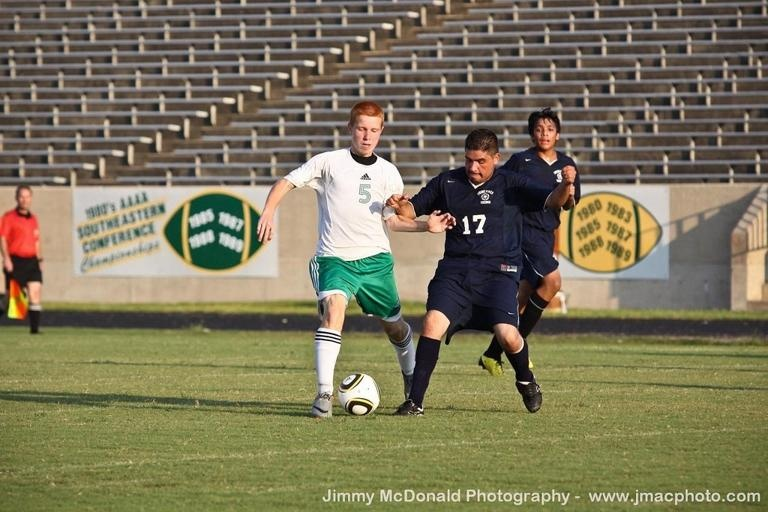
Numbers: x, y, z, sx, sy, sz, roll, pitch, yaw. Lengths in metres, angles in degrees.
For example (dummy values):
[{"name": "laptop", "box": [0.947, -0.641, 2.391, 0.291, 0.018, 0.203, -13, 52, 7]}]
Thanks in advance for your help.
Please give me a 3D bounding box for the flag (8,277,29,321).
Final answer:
[{"name": "flag", "box": [-8.271, 0.954, 45.135, 0.592, 0.894, 0.217, -3, 4, -43]}]
